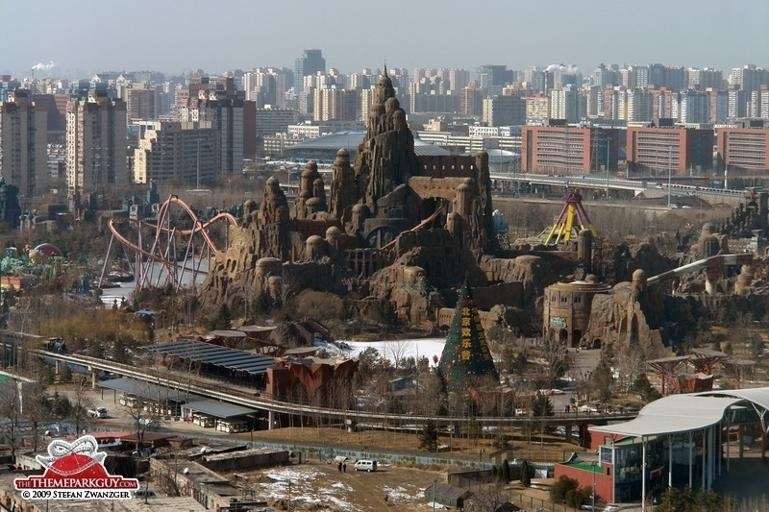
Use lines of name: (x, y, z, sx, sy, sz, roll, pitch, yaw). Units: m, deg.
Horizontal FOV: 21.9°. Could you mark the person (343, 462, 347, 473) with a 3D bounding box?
person: (-2.520, 13.047, 122.757, 0.309, 0.583, 0.798, 0, -2, -4)
